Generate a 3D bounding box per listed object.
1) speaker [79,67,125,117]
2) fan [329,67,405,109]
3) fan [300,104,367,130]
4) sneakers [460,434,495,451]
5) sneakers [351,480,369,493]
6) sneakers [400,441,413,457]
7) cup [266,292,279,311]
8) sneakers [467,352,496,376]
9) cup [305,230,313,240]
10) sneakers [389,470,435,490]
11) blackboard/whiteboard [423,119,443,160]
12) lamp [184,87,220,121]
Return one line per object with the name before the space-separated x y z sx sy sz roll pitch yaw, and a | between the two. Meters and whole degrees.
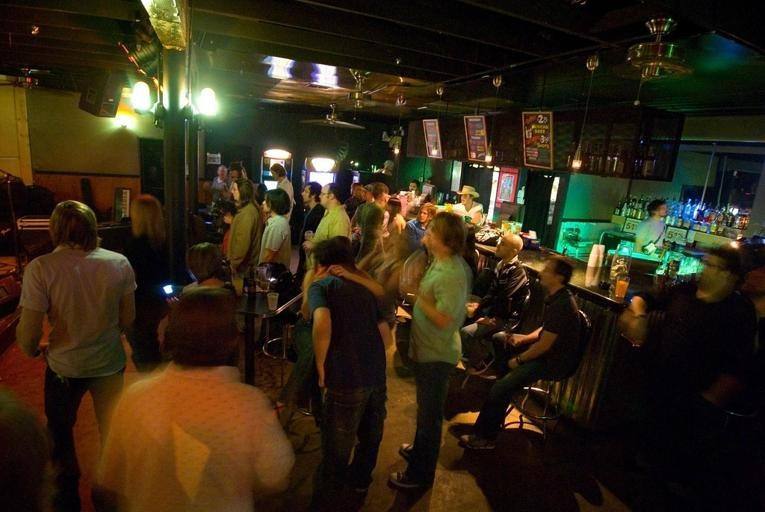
speaker | -4.781 -2.773 8.458 0.708 0.757 0.513 12 17 38
fan | -0.210 -2.797 8.363 1.005 0.391 1.039 1 6 12
fan | -1.229 -3.333 11.813 1.347 0.461 1.297 7 23 -7
sneakers | 0.956 1.888 5.155 0.404 0.177 0.150 4 5 1
sneakers | -0.193 2.100 4.520 0.134 0.127 0.042 4 47 -2
sneakers | 0.238 1.899 4.908 0.087 0.100 0.243 21 -8 4
cup | -1.117 0.460 5.045 0.149 0.159 0.148 1 1 0
sneakers | 1.226 1.399 6.421 0.385 0.193 0.247 -24 -29 29
cup | -0.907 -0.255 6.114 0.095 0.107 0.127 0 3 -5
sneakers | 0.293 2.079 4.666 0.450 0.168 0.160 11 4 1
blackboard/whiteboard | 1.006 -2.306 9.718 0.073 0.932 0.954 -14 10 -14
lamp | -2.635 -2.278 7.230 0.349 0.484 1.994 -3 13 -20
